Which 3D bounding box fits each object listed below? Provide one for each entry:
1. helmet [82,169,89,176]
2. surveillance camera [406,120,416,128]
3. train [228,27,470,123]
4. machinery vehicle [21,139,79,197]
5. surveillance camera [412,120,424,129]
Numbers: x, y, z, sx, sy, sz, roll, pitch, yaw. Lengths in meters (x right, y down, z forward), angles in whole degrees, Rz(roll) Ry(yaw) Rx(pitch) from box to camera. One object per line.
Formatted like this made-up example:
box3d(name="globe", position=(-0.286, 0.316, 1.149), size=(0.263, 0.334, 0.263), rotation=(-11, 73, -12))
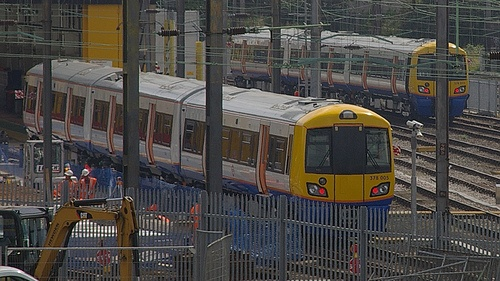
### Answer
box3d(name="helmet", position=(-7.420, 1.386, 47.661), size=(0.284, 0.279, 0.120), rotation=(-36, -35, 8))
box3d(name="surveillance camera", position=(7.718, -0.809, 50.853), size=(0.480, 0.261, 0.755), rotation=(-6, 8, -5))
box3d(name="train", position=(9.985, -4.636, 70.726), size=(14.256, 5.605, 22.714), rotation=(-4, 7, -39))
box3d(name="machinery vehicle", position=(-9.556, 1.191, 49.023), size=(2.238, 2.948, 3.262), rotation=(0, 6, -10))
box3d(name="surveillance camera", position=(8.174, -0.814, 51.636), size=(0.544, 0.143, 0.410), rotation=(34, 8, 21))
